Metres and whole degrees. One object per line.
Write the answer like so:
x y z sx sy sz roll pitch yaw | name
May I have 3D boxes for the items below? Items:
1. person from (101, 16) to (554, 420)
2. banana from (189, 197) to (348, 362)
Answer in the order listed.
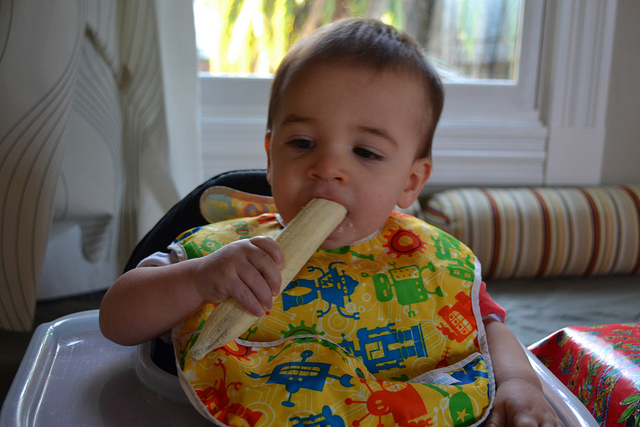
0.007 -0.025 1.116 0.929 0.876 0.655 -6 18 -24 | person
-0.111 0.171 1.131 0.422 0.082 0.102 -46 -3 -15 | banana
